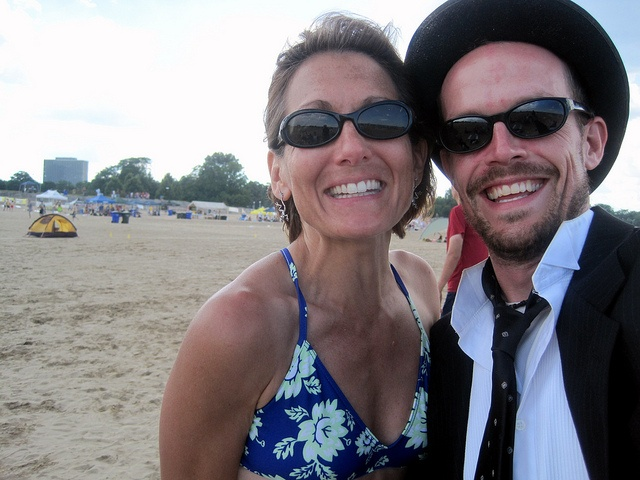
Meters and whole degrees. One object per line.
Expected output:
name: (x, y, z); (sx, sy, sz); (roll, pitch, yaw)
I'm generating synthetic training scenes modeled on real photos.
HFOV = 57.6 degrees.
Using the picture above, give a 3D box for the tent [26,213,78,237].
tent: (-11.543, -0.519, 25.230); (1.146, 0.747, 1.405); (0, -4, -5)
